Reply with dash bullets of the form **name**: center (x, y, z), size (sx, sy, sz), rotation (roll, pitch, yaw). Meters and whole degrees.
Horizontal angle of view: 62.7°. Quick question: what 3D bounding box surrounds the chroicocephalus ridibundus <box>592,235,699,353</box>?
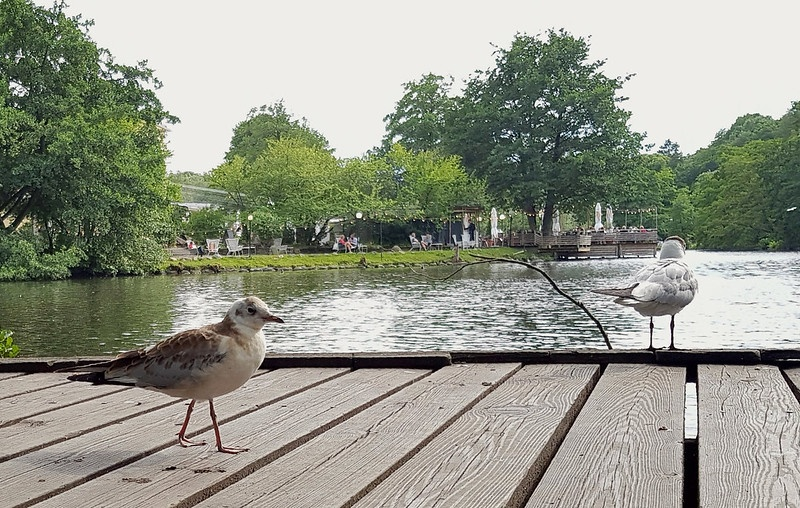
- **chroicocephalus ridibundus**: center (2.334, 0.368, 5.983), size (0.659, 0.993, 1.109), rotation (-2, 0, 30)

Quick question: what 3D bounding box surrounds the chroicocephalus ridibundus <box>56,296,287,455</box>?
- **chroicocephalus ridibundus**: center (-1.100, 0.504, 3.456), size (0.986, 0.744, 0.193), rotation (-1, 0, 9)
